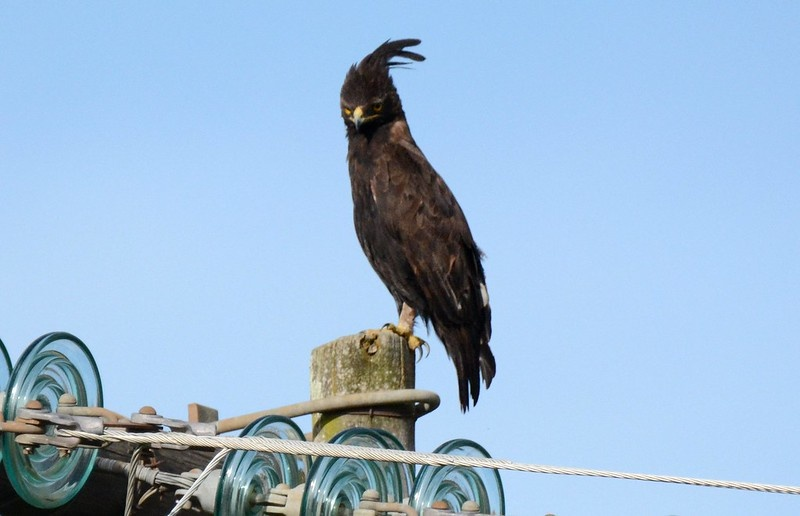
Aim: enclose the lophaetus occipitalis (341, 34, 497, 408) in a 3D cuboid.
[{"bbox_3d":[0.109,-0.206,12.607,1.481,2.864,0.830,25,-38,-31],"label":"lophaetus occipitalis"}]
